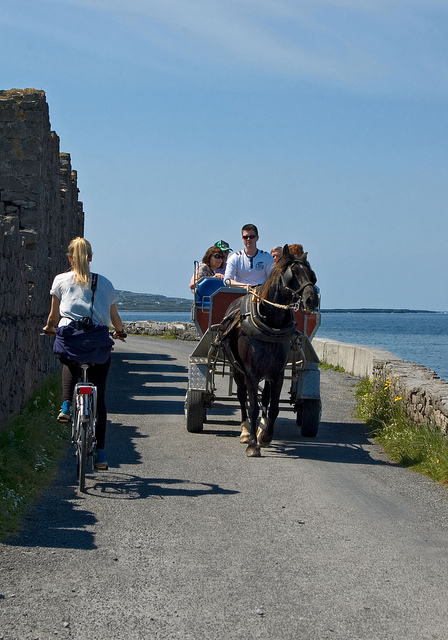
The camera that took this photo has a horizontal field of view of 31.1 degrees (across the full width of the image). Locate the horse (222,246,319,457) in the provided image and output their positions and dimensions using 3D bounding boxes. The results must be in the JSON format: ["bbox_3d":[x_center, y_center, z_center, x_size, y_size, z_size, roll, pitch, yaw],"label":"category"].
[{"bbox_3d":[0.367,0.516,8.903,0.639,1.990,2.695,0,-7,-11],"label":"horse"}]

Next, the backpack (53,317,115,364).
[{"bbox_3d":[-1.182,0.207,6.803,0.605,0.318,0.514,-15,5,-29],"label":"backpack"}]

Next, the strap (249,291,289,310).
[{"bbox_3d":[0.464,-0.233,8.273,0.071,0.088,0.582,-35,43,-26],"label":"strap"}]

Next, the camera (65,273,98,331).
[{"bbox_3d":[-1.165,-0.150,6.655,0.253,0.307,0.207,2,1,-16],"label":"camera"}]

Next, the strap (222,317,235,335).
[{"bbox_3d":[0.061,0.068,9.099,0.031,0.141,0.141,27,-32,-11],"label":"strap"}]

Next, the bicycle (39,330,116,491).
[{"bbox_3d":[-1.146,0.843,6.518,0.352,0.756,0.587,2,1,6],"label":"bicycle"}]

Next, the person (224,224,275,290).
[{"bbox_3d":[0.330,-0.767,10.143,0.549,0.915,0.555,0,-4,3],"label":"person"}]

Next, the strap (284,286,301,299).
[{"bbox_3d":[0.676,-0.271,7.938,0.259,0.038,0.046,40,20,34],"label":"strap"}]
